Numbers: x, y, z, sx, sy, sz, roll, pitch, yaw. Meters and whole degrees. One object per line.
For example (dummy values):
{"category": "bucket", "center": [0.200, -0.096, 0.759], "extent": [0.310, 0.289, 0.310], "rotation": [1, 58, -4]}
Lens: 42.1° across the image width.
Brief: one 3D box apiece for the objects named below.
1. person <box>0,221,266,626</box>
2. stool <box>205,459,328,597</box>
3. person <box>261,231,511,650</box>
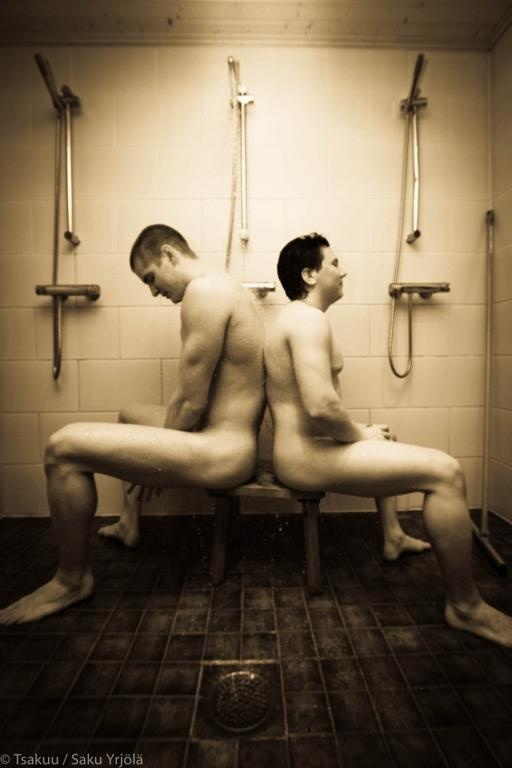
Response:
{"category": "person", "center": [-0.199, 0.098, 2.431], "extent": [0.908, 1.456, 0.987], "rotation": [2, -1, 5]}
{"category": "stool", "center": [0.032, 0.426, 2.034], "extent": [0.331, 0.267, 0.337], "rotation": [0, -5, 0]}
{"category": "person", "center": [0.288, 0.133, 2.353], "extent": [0.865, 1.575, 1.026], "rotation": [-4, 3, -5]}
